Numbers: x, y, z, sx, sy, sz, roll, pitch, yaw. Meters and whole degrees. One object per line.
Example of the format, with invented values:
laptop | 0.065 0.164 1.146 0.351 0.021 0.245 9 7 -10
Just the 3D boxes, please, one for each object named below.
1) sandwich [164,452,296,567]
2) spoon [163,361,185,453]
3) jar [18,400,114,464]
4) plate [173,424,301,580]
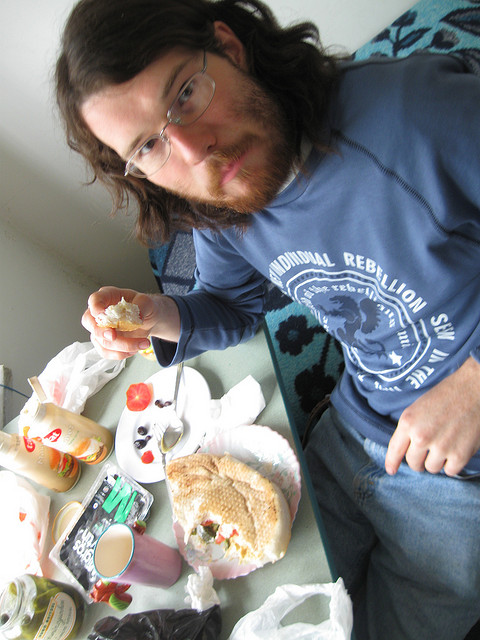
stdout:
sandwich | -0.022 0.318 0.912 0.263 0.069 0.144 25 64 31
spoon | -0.131 0.191 1.113 0.028 0.027 0.180 -7 59 29
jar | -0.372 0.242 1.101 0.118 0.281 0.115 -14 62 29
plate | 0.029 0.285 0.982 0.243 0.043 0.206 -20 45 41
